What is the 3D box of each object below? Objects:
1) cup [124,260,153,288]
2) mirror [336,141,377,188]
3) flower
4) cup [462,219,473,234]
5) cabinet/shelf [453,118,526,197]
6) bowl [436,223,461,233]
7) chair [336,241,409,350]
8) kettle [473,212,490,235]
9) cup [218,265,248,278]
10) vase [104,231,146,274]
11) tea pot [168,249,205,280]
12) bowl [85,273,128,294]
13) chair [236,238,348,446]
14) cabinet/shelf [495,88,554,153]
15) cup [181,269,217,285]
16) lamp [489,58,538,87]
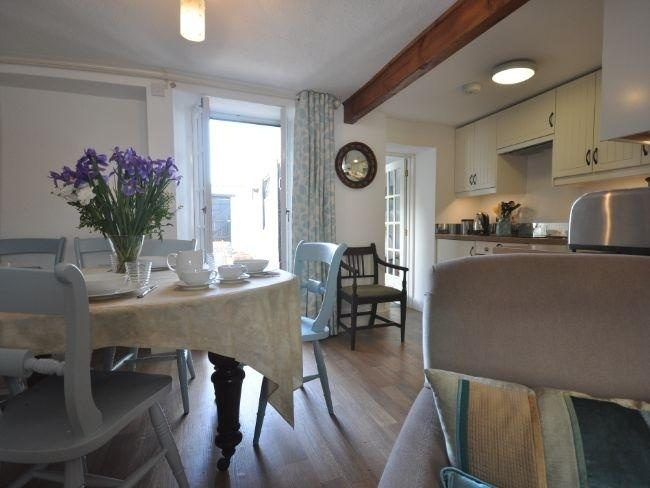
[{"bbox_3d":[-0.862,0.142,2.161,0.110,0.134,0.125,1,6,-7],"label":"cup"},{"bbox_3d":[0.304,-0.809,4.646,0.357,0.396,0.026,-23,19,-28],"label":"mirror"},{"bbox_3d":[-1.083,-0.176,2.448,0.519,0.600,0.615,18,23,20],"label":"flower"},{"bbox_3d":[1.545,-0.182,4.981,0.126,0.262,0.132,-1,5,0],"label":"cup"},{"bbox_3d":[1.783,-0.932,4.895,0.414,0.957,0.769,0,2,-18],"label":"cabinet/shelf"},{"bbox_3d":[1.385,-0.175,5.149,0.275,0.119,0.183,3,11,17],"label":"bowl"},{"bbox_3d":[0.378,0.432,4.209,0.651,0.888,0.642,1,2,43],"label":"chair"},{"bbox_3d":[1.709,-0.221,4.986,0.160,0.210,0.251,4,11,22],"label":"kettle"},{"bbox_3d":[-0.450,0.131,2.218,0.080,0.040,0.075,1,4,0],"label":"cup"},{"bbox_3d":[-0.996,0.045,2.297,0.172,0.211,0.182,0,-4,16],"label":"vase"},{"bbox_3d":[-0.728,0.102,2.330,0.211,0.162,0.143,-2,0,4],"label":"tea pot"},{"bbox_3d":[-0.924,0.168,1.955,0.118,0.043,0.122,2,6,0],"label":"bowl"},{"bbox_3d":[-0.237,0.532,2.840,0.638,1.044,0.577,-2,6,-27],"label":"chair"},{"bbox_3d":[2.063,-1.166,4.470,0.307,0.368,0.578,4,-4,-30],"label":"cabinet/shelf"},{"bbox_3d":[-0.578,0.154,2.112,0.102,0.052,0.086,2,-1,-35],"label":"cup"},{"bbox_3d":[1.534,-1.406,3.729,0.323,0.157,0.232,4,11,23],"label":"lamp"}]
